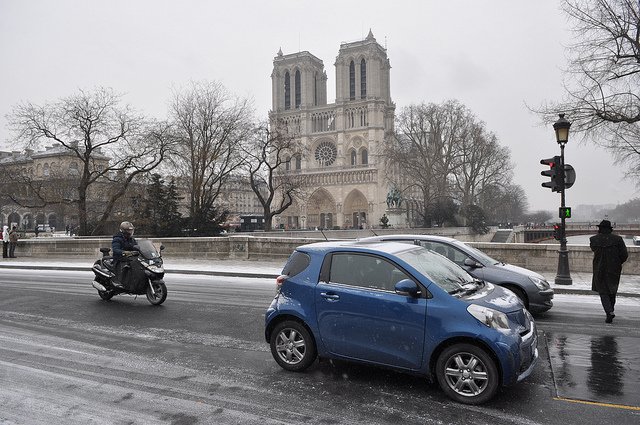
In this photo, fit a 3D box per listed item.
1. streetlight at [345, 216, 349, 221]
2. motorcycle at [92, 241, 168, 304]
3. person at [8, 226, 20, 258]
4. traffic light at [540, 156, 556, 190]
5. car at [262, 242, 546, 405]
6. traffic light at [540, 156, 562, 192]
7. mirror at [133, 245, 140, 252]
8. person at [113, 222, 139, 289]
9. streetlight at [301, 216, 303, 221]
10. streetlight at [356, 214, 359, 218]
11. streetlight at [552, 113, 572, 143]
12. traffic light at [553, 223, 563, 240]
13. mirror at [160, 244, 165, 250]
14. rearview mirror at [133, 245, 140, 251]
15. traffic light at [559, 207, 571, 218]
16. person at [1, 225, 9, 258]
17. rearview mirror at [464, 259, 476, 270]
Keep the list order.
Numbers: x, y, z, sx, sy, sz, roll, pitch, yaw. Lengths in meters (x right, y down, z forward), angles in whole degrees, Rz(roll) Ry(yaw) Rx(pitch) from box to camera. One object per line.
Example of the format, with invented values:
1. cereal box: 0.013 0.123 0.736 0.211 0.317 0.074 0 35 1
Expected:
1. streetlight: 4.288 0.905 95.887 0.688 0.684 0.413 -9 15 -38
2. motorcycle: -5.620 1.698 17.958 2.870 1.885 1.179 -1 -6 33
3. person: -16.218 1.590 31.869 0.452 1.698 1.593 -6 13 -25
4. traffic light: 7.947 -1.369 21.036 0.434 1.076 0.574 4 12 19
5. car: 1.954 2.088 12.856 4.729 2.235 2.996 -1 -2 20
6. traffic light: 8.064 -1.329 21.001 0.694 1.226 0.514 5 13 26
7. mirror: -5.302 1.014 17.464 0.191 0.177 0.143 -13 16 -29
8. person: -5.618 1.217 17.557 0.699 1.920 0.574 -5 12 -19
9. streetlight: -2.986 0.830 97.207 0.201 0.739 0.800 4 4 -27
10. streetlight: 5.994 0.504 96.067 0.615 0.585 0.326 3 11 12
11. streetlight: 8.442 -2.959 21.129 0.489 0.975 0.564 4 12 21
12. traffic light: 8.275 0.675 21.010 0.266 0.642 0.682 4 12 19
13. mirror: -4.596 1.001 17.602 0.153 0.063 0.211 3 18 5
14. rearview mirror: -5.316 1.008 17.460 0.171 0.163 0.125 -9 26 -11
15. traffic light: 8.359 -0.022 20.667 0.441 0.410 0.228 -1 6 8
16. person: -16.616 1.544 31.906 0.397 1.668 1.157 -6 13 -27
17. rearview mirror: 3.849 1.333 15.558 0.276 0.345 0.493 3 12 17
